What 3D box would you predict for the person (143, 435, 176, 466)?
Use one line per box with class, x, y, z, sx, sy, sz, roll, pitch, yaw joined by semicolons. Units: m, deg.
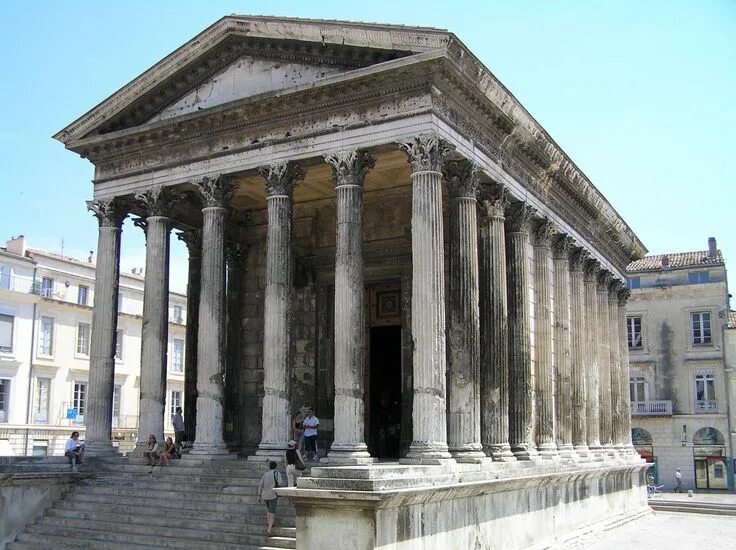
person;-7.005;5.893;23.879;1.203;1.050;0.660;-9;-16;21
